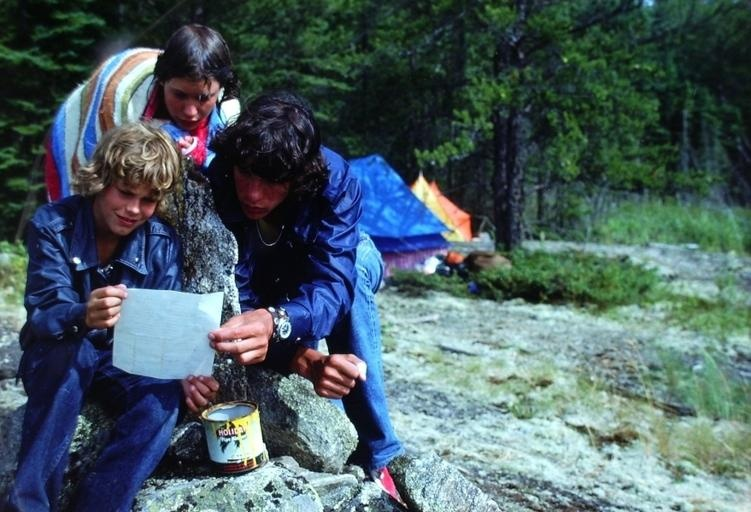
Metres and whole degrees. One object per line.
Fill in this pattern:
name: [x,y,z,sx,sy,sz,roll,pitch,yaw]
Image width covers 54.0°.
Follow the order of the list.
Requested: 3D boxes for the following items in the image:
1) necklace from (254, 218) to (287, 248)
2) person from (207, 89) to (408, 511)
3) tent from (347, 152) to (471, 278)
necklace: [-0.617,-0.136,4.269,0.110,0.175,0.060,1,4,2]
person: [-0.380,0.232,4.125,1.064,2.243,0.698,2,5,-19]
tent: [0.209,-0.251,5.043,0.806,0.437,0.624,22,36,37]
